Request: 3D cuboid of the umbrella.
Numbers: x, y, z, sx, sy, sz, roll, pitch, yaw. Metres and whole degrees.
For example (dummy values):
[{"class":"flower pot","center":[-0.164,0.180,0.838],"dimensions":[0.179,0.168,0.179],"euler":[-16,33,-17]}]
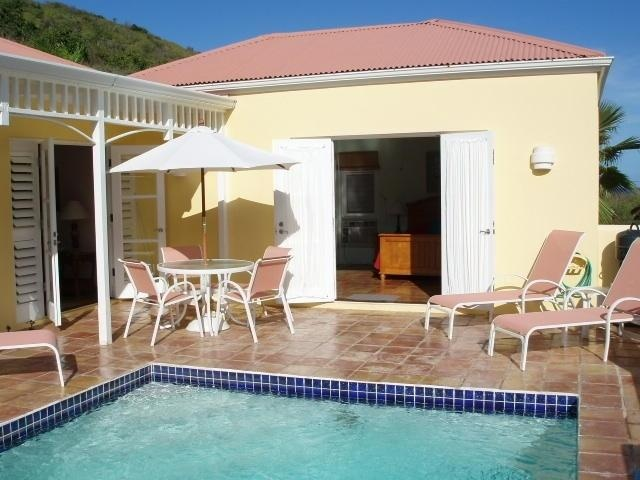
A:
[{"class":"umbrella","center":[-1.391,-0.576,6.712],"dimensions":[1.988,1.874,1.554],"euler":[1,9,16]}]
